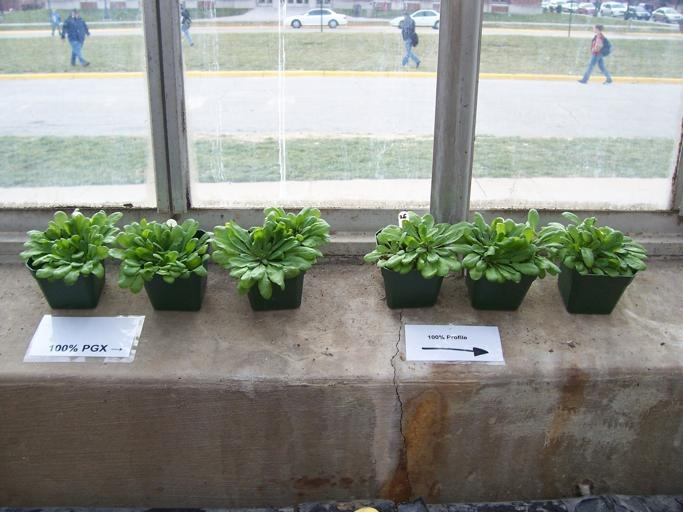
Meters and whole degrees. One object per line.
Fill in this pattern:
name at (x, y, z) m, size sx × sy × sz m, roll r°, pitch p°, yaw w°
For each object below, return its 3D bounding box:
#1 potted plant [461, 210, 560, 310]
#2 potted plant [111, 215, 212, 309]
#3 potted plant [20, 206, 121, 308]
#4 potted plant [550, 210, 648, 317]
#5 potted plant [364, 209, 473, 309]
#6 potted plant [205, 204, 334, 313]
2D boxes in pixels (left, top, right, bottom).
potted plant at (0.579, 0.026, 2.231) m, size 0.319 × 0.351 × 0.262 m, roll 4°, pitch 24°, yaw 14°
potted plant at (-0.586, 0.031, 2.257) m, size 0.393 × 0.234 × 0.342 m, roll -11°, pitch 31°, yaw -19°
potted plant at (-0.886, 0.028, 2.255) m, size 0.369 × 0.233 × 0.335 m, roll 0°, pitch 37°, yaw -5°
potted plant at (0.832, 0.018, 2.345) m, size 0.375 × 0.298 × 0.353 m, roll 0°, pitch 29°, yaw 4°
potted plant at (0.246, 0.045, 2.281) m, size 0.350 × 0.233 × 0.326 m, roll -5°, pitch 38°, yaw -3°
potted plant at (-0.241, 0.029, 2.245) m, size 0.378 × 0.234 × 0.326 m, roll 5°, pitch 33°, yaw -2°
